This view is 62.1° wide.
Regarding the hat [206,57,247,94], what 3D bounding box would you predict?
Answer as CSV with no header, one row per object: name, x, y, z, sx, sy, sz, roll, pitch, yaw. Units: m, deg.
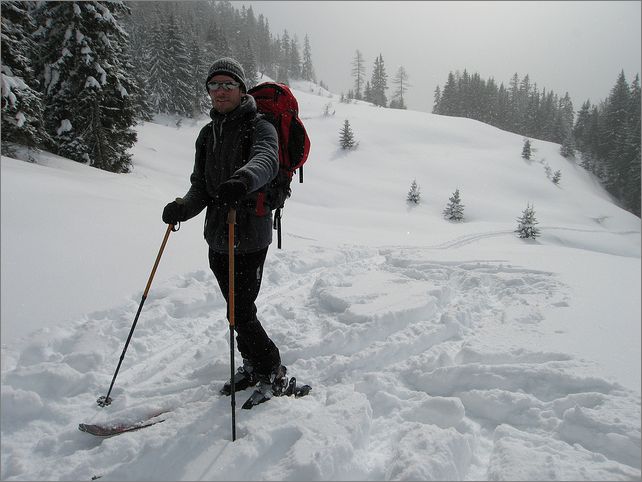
hat,-1.590,-2.879,9.229,0.533,0.496,0.582,5,-2,21
